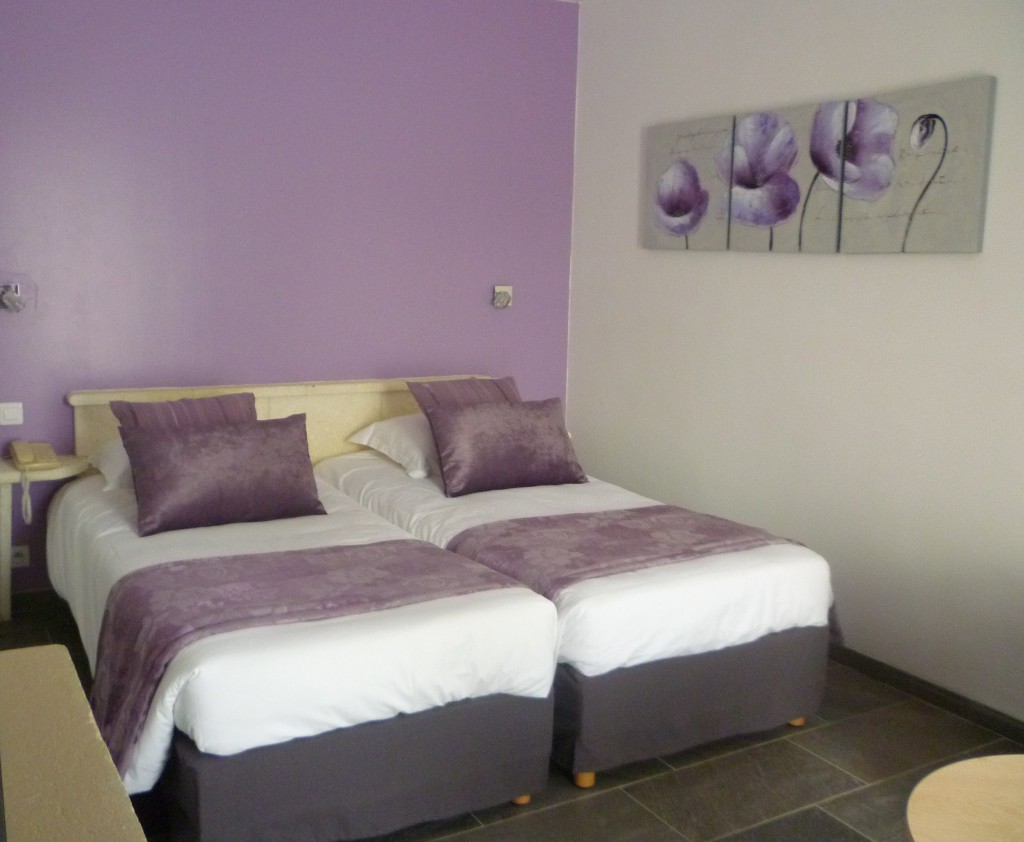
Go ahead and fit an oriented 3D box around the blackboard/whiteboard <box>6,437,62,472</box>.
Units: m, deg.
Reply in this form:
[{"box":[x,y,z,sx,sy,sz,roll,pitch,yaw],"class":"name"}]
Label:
[{"box":[-2.066,0.145,3.465,0.163,0.062,0.172,-4,27,-36],"class":"blackboard/whiteboard"}]
